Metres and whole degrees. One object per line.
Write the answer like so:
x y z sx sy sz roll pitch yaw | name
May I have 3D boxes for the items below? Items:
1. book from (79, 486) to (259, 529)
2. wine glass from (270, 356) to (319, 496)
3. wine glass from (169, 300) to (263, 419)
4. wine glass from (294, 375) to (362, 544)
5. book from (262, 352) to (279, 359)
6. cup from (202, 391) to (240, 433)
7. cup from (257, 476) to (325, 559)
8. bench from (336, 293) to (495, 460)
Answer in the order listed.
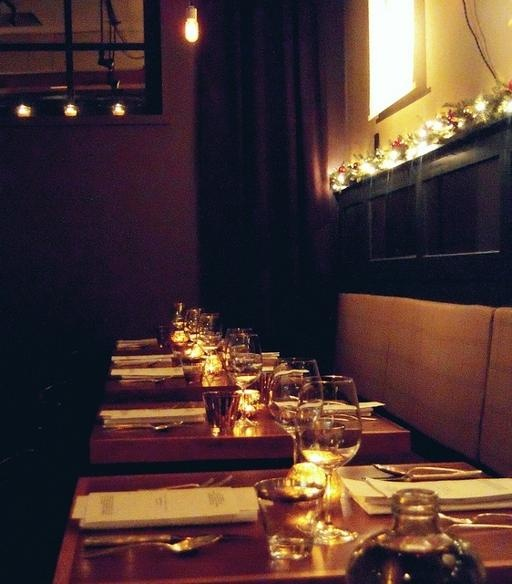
-0.122 0.318 0.794 0.174 0.026 0.106 0 -3 -6 | book
0.087 0.289 1.195 0.123 0.309 0.115 1 14 12 | wine glass
-0.212 0.209 1.937 0.162 0.290 0.980 0 3 -12 | wine glass
0.108 0.249 0.815 0.098 0.246 0.095 -2 -2 12 | wine glass
0.062 0.270 2.279 0.053 0.015 0.056 2 -9 -9 | book
-0.086 0.297 1.339 0.086 0.098 0.094 0 -10 0 | cup
0.036 0.277 0.698 0.085 0.088 0.083 -1 -3 0 | cup
0.653 0.329 2.197 0.126 0.525 1.434 2 -2 -12 | bench
